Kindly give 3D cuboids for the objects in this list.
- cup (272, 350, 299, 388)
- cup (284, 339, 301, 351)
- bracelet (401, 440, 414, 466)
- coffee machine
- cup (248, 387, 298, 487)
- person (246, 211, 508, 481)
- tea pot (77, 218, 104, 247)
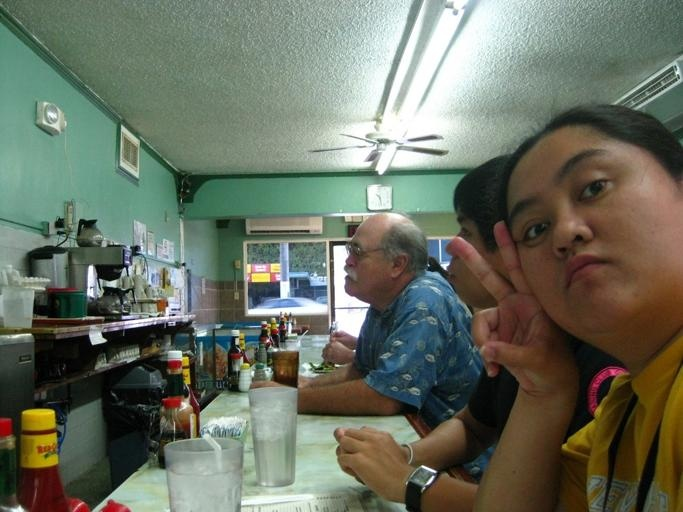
[{"bbox_3d":[-0.184,0.364,1.723,0.089,0.130,0.091,-1,-3,0],"label":"cup"},{"bbox_3d":[-0.163,0.292,1.751,0.045,0.031,0.035,-5,-4,30],"label":"cup"},{"bbox_3d":[0.180,0.513,1.384,0.011,0.037,0.040,-34,-14,15],"label":"bracelet"},{"bbox_3d":[-1.660,0.151,3.418,0.577,0.397,0.300,-2,-2,-8],"label":"coffee machine"},{"bbox_3d":[-0.160,0.417,1.258,0.105,0.233,0.156,-1,-3,-6],"label":"cup"},{"bbox_3d":[0.131,0.272,2.138,0.982,0.784,0.636,-5,1,-13],"label":"person"},{"bbox_3d":[-1.655,-0.163,3.487,0.217,0.202,0.162,-1,-2,-9],"label":"tea pot"}]
